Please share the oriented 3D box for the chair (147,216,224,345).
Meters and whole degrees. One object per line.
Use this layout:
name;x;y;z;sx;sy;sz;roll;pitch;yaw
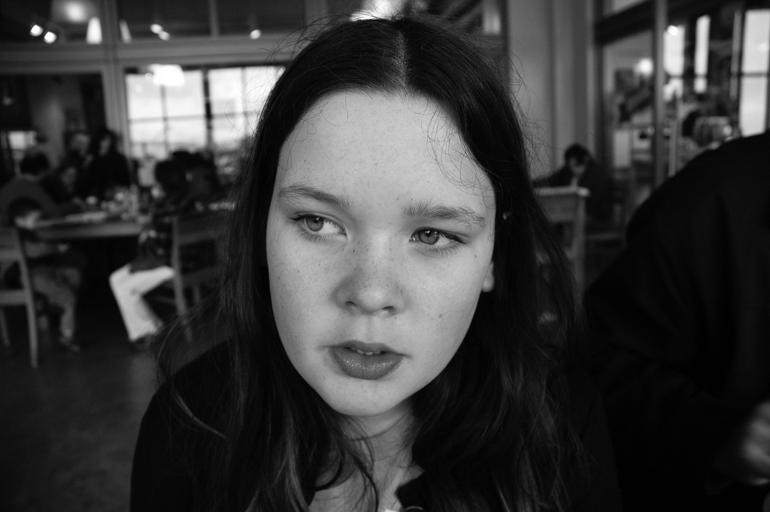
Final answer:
chair;-0.973;0.092;3.518;0.360;0.662;0.408;-10;26;-28
